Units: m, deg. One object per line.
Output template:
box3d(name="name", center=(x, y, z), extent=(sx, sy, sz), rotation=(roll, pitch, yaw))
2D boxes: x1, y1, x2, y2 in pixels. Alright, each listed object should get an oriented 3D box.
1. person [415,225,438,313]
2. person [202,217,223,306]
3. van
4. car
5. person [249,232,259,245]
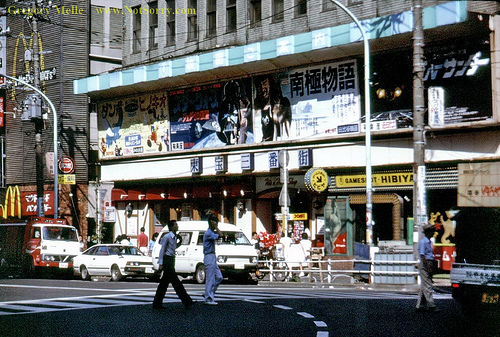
box3d(name="person", center=(6.070, 3.386, 28.596), extent=(0.655, 2.854, 0.879), rotation=(-1, -2, 12))
box3d(name="person", center=(-1.331, 3.257, 29.764), extent=(0.610, 3.146, 1.064), rotation=(0, -2, -5))
box3d(name="van", center=(-2.151, 3.907, 38.376), extent=(2.617, 2.365, 4.252), rotation=(5, -8, -38))
box3d(name="car", center=(-6.638, 4.557, 40.011), extent=(1.758, 1.247, 3.369), rotation=(6, -9, -41))
box3d(name="person", center=(0.270, 3.514, 41.775), extent=(0.523, 0.746, 0.399), rotation=(1, -17, -1))
